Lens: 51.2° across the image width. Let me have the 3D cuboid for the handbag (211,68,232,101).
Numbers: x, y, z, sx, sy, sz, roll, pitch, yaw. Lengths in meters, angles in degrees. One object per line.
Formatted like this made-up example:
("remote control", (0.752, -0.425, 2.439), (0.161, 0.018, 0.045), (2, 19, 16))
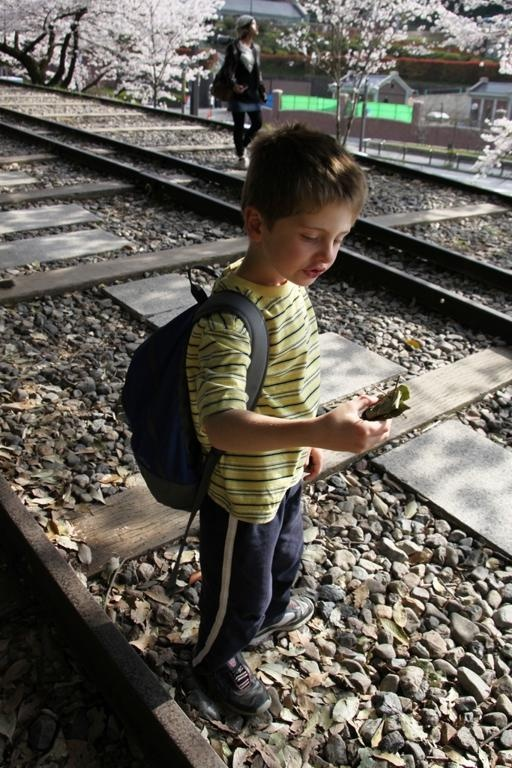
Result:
("handbag", (-0.467, -3.880, 6.935), (0.302, 0.333, 0.253), (14, 22, 15))

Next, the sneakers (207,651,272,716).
("sneakers", (-0.044, 0.694, 1.307), (0.083, 0.093, 0.207), (-10, 11, -34))
